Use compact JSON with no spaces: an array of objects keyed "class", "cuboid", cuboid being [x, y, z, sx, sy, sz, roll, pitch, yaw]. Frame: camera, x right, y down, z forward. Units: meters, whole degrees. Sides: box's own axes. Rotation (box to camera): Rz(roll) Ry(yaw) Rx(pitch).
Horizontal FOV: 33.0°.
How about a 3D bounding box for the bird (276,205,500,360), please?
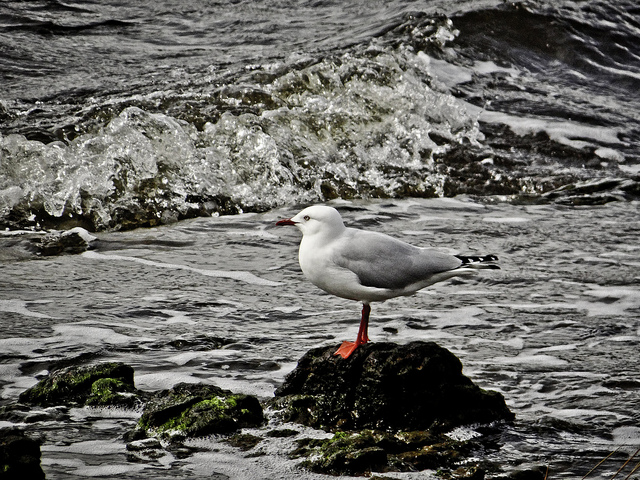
[{"class":"bird","cuboid":[0.563,0.436,11.624,1.909,1.553,0.663,3,7,-2]}]
